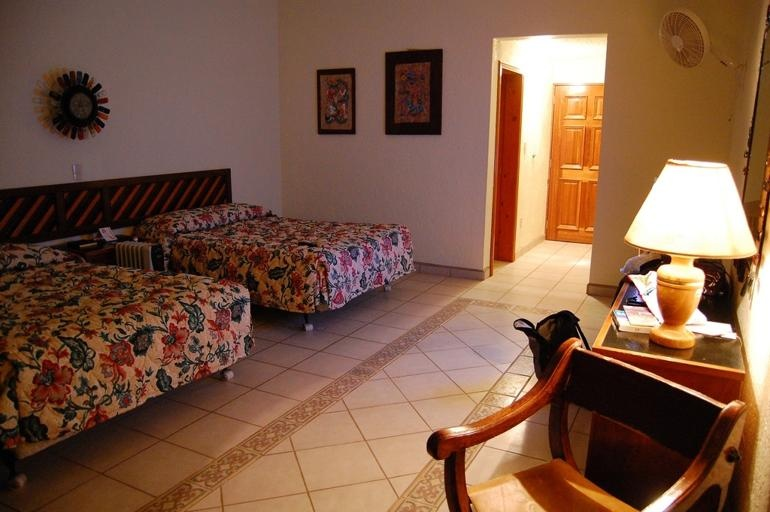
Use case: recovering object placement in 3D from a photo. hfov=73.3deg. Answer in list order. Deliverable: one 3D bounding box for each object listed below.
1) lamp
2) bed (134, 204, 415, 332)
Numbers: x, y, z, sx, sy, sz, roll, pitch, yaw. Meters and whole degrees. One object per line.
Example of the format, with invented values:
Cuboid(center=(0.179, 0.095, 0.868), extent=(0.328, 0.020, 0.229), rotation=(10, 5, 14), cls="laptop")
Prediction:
Cuboid(center=(1.558, 0.018, 2.684), extent=(0.585, 0.989, 0.319), rotation=(7, 17, 26), cls="lamp")
Cuboid(center=(-1.216, -0.043, 5.272), extent=(1.933, 0.740, 1.583), rotation=(8, 18, 26), cls="bed")
